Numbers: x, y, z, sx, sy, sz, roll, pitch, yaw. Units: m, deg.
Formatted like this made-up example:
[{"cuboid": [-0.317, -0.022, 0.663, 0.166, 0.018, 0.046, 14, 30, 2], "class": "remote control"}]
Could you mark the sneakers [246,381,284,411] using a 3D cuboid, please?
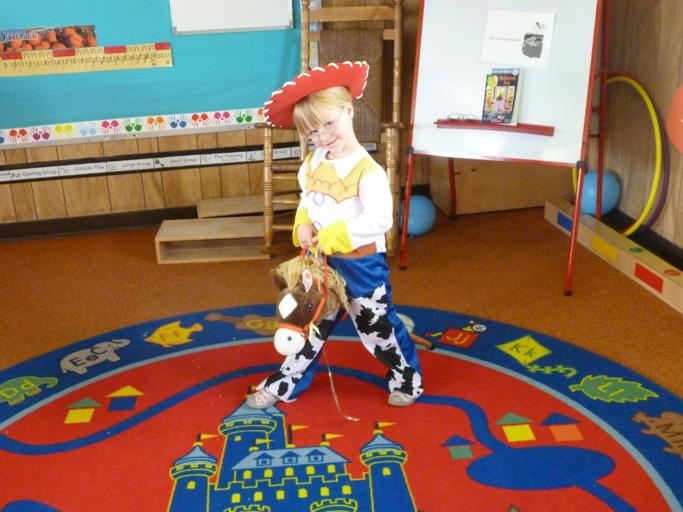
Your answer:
[{"cuboid": [-0.351, 0.634, 2.415, 0.082, 0.069, 0.156, 8, 8, 41], "class": "sneakers"}]

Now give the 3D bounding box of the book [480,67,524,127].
[{"cuboid": [0.956, -0.950, 3.148, 0.301, 0.431, 0.046, 9, 11, 33], "class": "book"}]

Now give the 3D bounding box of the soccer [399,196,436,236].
[{"cuboid": [0.604, -0.314, 4.044, 0.283, 0.347, 0.293, 0, 7, 14], "class": "soccer"}]

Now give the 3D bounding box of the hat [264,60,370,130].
[{"cuboid": [-0.071, -0.662, 2.033, 0.300, 0.094, 0.299, -4, -19, -42], "class": "hat"}]
